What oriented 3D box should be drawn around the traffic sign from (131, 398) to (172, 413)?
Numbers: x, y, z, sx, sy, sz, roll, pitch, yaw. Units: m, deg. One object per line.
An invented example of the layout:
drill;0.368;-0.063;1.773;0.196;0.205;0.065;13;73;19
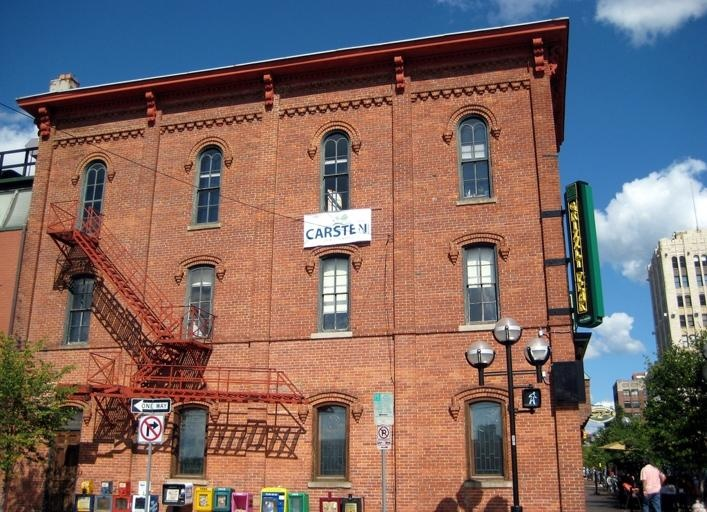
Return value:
traffic sign;-6.177;4.586;25.764;1.184;0.598;0.624;-1;-23;2
